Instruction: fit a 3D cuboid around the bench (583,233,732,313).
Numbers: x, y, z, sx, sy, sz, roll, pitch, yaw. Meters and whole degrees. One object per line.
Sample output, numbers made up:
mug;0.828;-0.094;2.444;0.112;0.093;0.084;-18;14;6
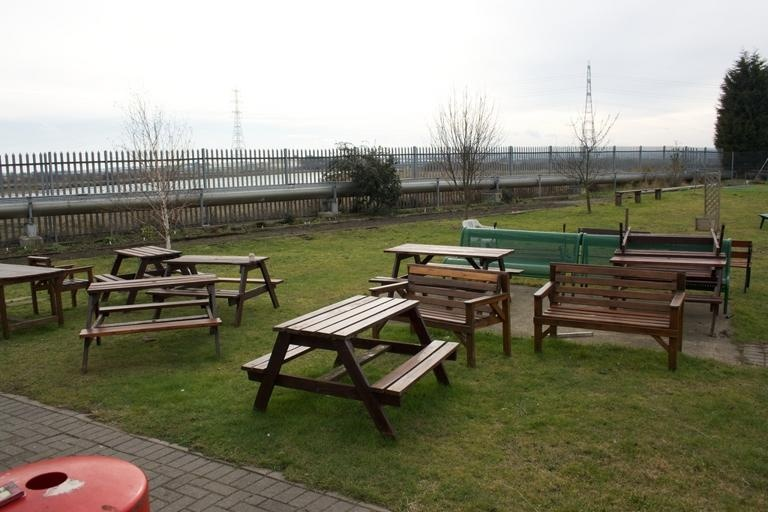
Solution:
bench;4.744;0.298;8.540;1.946;0.778;0.657;2;4;23

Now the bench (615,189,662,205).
bench;14.688;-3.600;29.115;2.189;0.679;7.611;0;10;24
